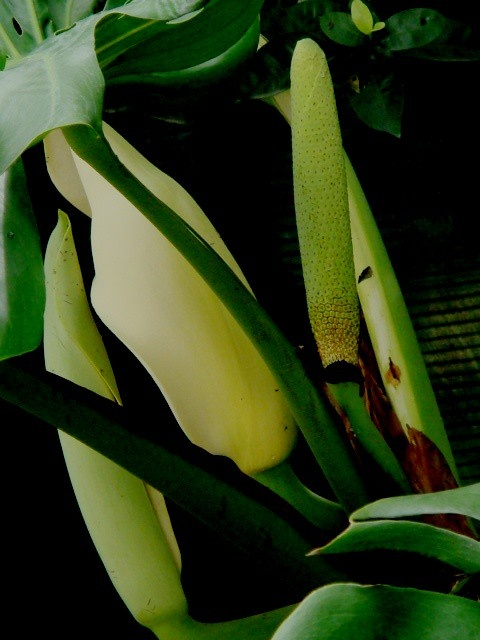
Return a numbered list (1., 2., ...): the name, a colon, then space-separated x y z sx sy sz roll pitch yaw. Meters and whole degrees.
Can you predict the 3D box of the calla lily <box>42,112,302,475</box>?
1. calla lily: -0.031 -0.002 0.369 0.079 0.184 0.052 -19 17 -4
